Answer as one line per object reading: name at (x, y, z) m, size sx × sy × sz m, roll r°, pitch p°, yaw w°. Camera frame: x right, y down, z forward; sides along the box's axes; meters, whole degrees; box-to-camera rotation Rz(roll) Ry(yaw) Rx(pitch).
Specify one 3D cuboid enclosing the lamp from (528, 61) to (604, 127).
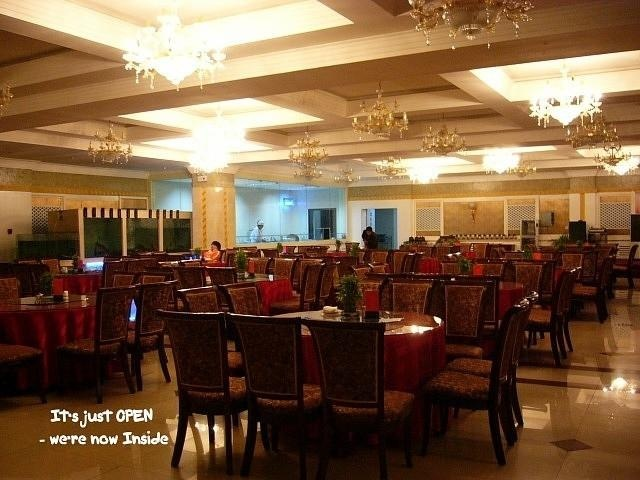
lamp at (3.919, -2.180, 7.526) m, size 1.045 × 1.281 × 1.091 m, roll 1°, pitch -1°, yaw 19°

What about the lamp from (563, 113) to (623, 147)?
lamp at (5.144, -2.097, 8.979) m, size 0.877 × 0.642 × 0.794 m, roll 0°, pitch 1°, yaw 13°

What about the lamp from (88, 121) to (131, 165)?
lamp at (-4.633, -2.169, 10.487) m, size 0.841 × 1.066 × 0.863 m, roll 2°, pitch 1°, yaw -14°

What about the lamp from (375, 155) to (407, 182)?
lamp at (2.287, -2.331, 15.432) m, size 1.140 × 0.828 × 1.035 m, roll 1°, pitch -2°, yaw 19°

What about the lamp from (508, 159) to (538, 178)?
lamp at (6.307, -2.232, 14.783) m, size 0.709 × 0.513 × 0.798 m, roll 0°, pitch -3°, yaw 7°

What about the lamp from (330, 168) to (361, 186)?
lamp at (0.767, -2.146, 15.386) m, size 1.045 × 0.826 × 1.083 m, roll -1°, pitch 4°, yaw 4°

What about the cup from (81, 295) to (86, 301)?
cup at (-2.897, 0.708, 5.836) m, size 0.073 × 0.077 × 0.072 m, roll 1°, pitch 1°, yaw 0°

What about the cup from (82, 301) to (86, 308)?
cup at (-2.711, 0.736, 5.470) m, size 0.045 × 0.065 × 0.063 m, roll -5°, pitch -5°, yaw 24°

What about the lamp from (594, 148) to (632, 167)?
lamp at (7.513, -2.122, 12.242) m, size 0.902 × 0.508 × 0.937 m, roll -2°, pitch 5°, yaw -2°
